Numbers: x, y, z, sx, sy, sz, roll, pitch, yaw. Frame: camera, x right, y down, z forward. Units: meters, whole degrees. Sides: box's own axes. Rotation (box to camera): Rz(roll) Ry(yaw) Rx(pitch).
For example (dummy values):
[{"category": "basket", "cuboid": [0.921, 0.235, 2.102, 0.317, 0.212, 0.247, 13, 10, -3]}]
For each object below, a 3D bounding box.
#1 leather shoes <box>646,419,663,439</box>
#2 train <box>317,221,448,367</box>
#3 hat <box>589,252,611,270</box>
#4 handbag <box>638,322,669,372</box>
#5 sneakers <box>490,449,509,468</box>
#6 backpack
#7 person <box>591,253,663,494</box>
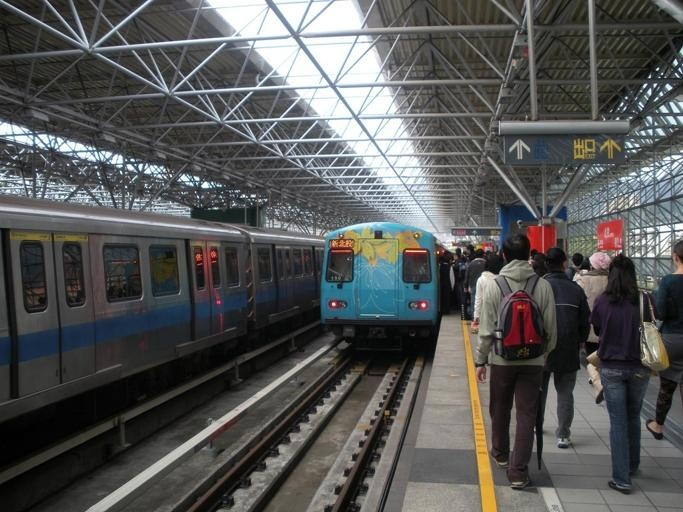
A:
[{"category": "leather shoes", "cuboid": [4.012, 2.209, 6.169, 0.131, 0.107, 0.335, -4, 18, 10]}, {"category": "train", "cuboid": [1.537, 0.289, 15.649, 2.970, 3.254, 7.211, -1, 7, 10]}, {"category": "hat", "cuboid": [4.198, 0.058, 7.788, 0.262, 0.296, 0.347, -9, 9, 21]}, {"category": "handbag", "cuboid": [3.127, 0.902, 4.770, 0.254, 0.487, 0.224, 4, 2, 32]}, {"category": "sneakers", "cuboid": [1.729, 2.195, 5.247, 0.118, 0.114, 0.272, 2, 5, 4]}, {"category": "backpack", "cuboid": [1.846, 0.598, 4.736, 0.518, 0.809, 0.464, -8, 2, 34]}, {"category": "person", "cuboid": [2.879, 1.167, 4.906, 0.572, 2.216, 0.517, 4, 2, 12]}]
